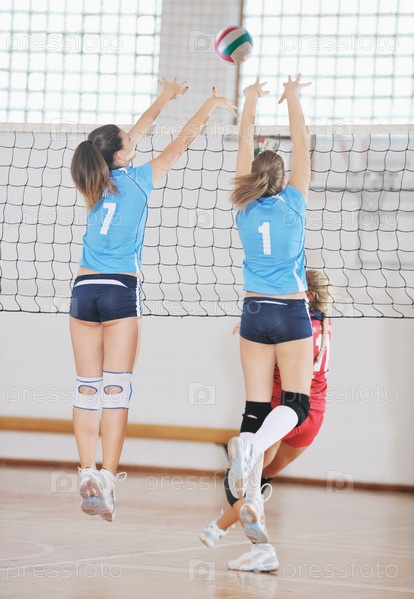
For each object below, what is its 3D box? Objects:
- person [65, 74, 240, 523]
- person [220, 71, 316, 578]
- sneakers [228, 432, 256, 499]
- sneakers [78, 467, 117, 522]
[{"bbox_3d":[-0.378,-0.078,2.699,0.364,1.894,0.611,3,0,29],"label":"person"},{"bbox_3d":[0.184,0.013,2.496,0.393,2.040,0.602,-5,-9,34],"label":"person"},{"bbox_3d":[0.125,0.613,2.321,0.114,0.219,0.129,3,-1,3],"label":"sneakers"},{"bbox_3d":[-0.432,0.783,2.469,0.140,0.209,0.196,3,0,-8],"label":"sneakers"}]
